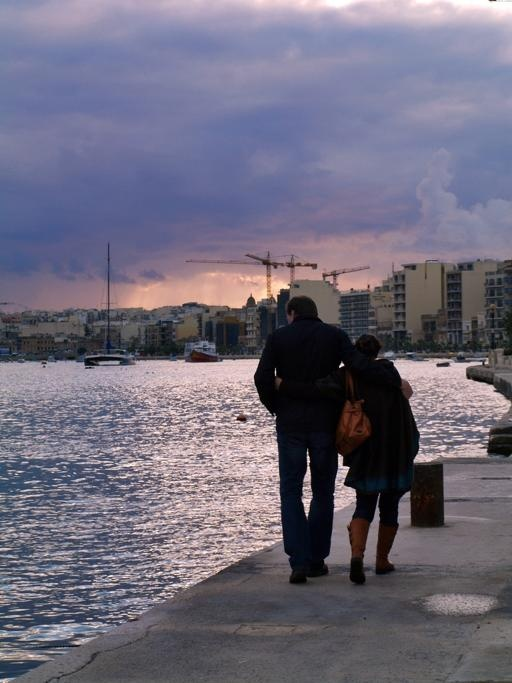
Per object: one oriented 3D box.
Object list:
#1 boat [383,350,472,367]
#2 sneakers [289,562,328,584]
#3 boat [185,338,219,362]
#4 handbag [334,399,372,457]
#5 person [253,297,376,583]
[{"bbox_3d":[23.571,2.803,207.139,15.249,2.238,1.076,-1,1,40],"label":"boat"},{"bbox_3d":[0.330,1.473,8.902,0.087,0.112,0.271,3,8,27],"label":"sneakers"},{"bbox_3d":[-7.591,1.681,201.816,2.227,2.411,6.803,-2,-4,5],"label":"boat"},{"bbox_3d":[0.607,0.532,8.884,0.186,0.391,0.338,2,6,20],"label":"handbag"},{"bbox_3d":[0.325,0.607,9.025,0.685,1.801,0.522,0,0,-13],"label":"person"}]
